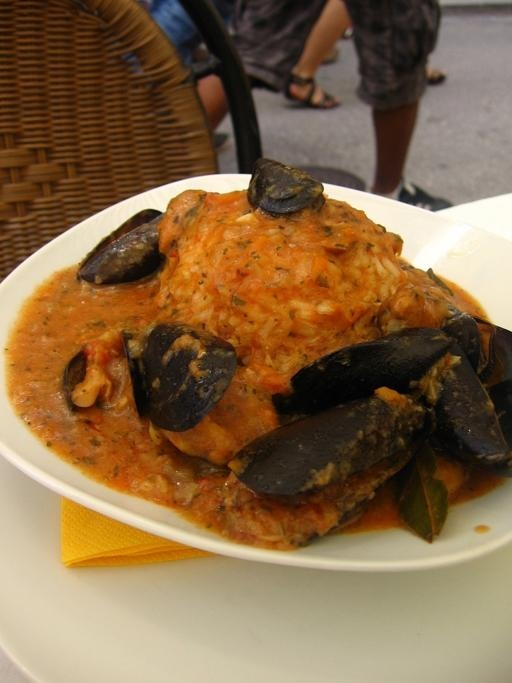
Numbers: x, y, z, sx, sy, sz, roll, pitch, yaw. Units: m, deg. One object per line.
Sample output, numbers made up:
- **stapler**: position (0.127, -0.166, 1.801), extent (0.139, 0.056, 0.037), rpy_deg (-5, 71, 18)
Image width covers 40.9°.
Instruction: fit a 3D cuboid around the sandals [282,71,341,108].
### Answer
- **sandals**: position (0.280, -1.246, 3.473), extent (0.315, 0.197, 0.094), rpy_deg (-1, 50, -12)
